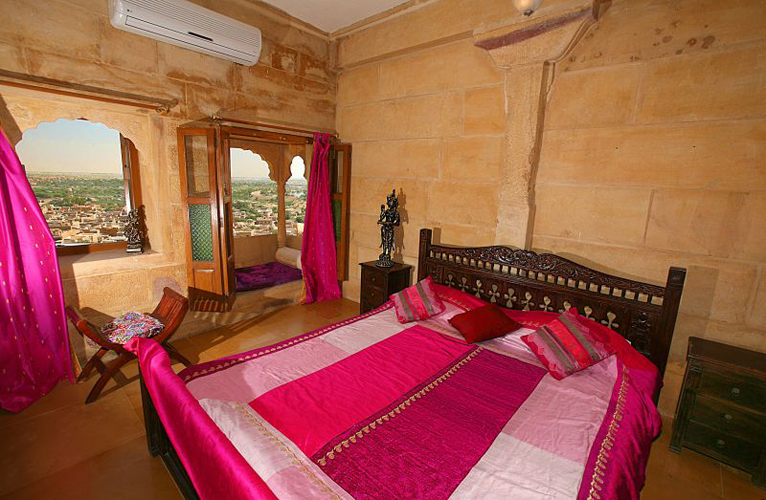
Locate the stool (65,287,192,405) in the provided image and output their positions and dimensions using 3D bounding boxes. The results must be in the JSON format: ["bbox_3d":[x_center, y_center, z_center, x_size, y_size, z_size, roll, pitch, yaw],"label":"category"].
[{"bbox_3d":[-2.914,1.057,5.195,1.116,1.014,1.531,12,11,39],"label":"stool"}]

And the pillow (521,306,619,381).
[{"bbox_3d":[1.873,0.968,4.464,0.670,0.161,0.608,-26,50,-13],"label":"pillow"}]
